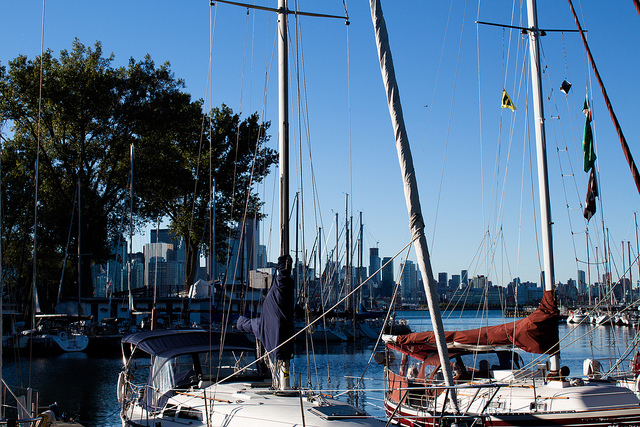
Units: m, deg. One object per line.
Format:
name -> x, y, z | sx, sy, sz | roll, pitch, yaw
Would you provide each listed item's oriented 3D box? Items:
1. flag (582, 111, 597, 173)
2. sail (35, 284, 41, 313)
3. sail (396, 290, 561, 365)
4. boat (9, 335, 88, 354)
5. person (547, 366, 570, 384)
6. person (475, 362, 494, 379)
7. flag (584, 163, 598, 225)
flag -> 12.418, -3.463, 39.477 | 0.609, 3.413, 0.323 | 0, 32, 21
sail -> -20.500, 6.536, 62.275 | 0.286, 1.844, 8.731 | 2, -11, -17
sail -> 7.061, 6.012, 40.131 | 8.282, 4.292, 4.191 | -3, -21, 4
boat -> -18.695, 9.043, 58.468 | 4.964, 1.515, 3.207 | 3, -5, -18
person -> 10.733, 7.344, 38.576 | 0.953, 0.661, 0.445 | -3, -9, 11
person -> 7.765, 7.474, 40.493 | 0.608, 0.957, 0.647 | 4, -8, -19
flag -> 12.287, -0.975, 38.896 | 0.551, 2.789, 2.205 | -3, -9, 17
